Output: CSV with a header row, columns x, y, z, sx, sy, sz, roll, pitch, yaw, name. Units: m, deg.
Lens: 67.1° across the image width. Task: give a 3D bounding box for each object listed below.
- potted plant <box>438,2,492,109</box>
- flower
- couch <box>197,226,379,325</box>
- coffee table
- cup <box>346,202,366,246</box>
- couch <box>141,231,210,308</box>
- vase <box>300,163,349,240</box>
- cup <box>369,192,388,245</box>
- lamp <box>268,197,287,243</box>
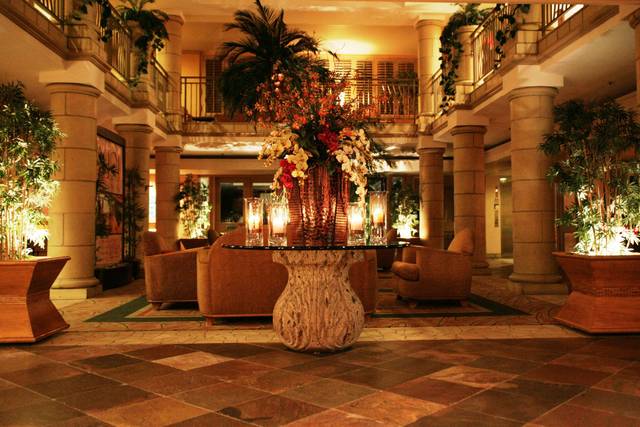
x,y,z,sx,sy,sz,roll,pitch,yaw,name
3.167,-3.636,10.962,0.673,2.495,1.064,4,6,42,potted plant
0.140,-0.594,4.894,0.984,1.165,1.010,9,16,43,flower
-0.354,0.640,6.163,2.262,1.273,1.176,0,15,4,couch
-0.045,0.802,4.684,1.299,0.728,1.298,1,-3,-34,coffee table
0.337,0.085,4.503,0.159,0.384,0.209,0,4,0,cup
-1.775,0.708,7.016,1.099,1.008,1.332,-1,4,7,couch
0.040,-0.082,4.575,0.464,0.737,0.197,-1,5,-2,vase
0.552,0.028,4.597,0.143,0.481,0.169,-1,5,-2,cup
-0.389,0.078,4.610,0.201,0.404,0.181,-2,5,-17,lamp
